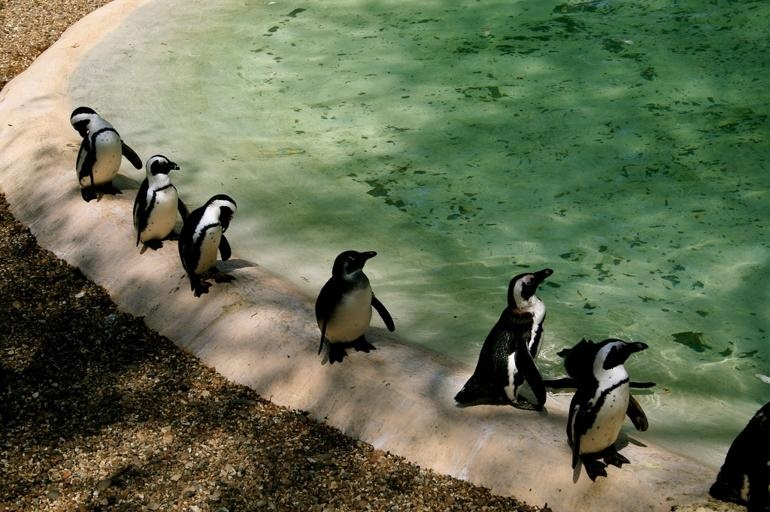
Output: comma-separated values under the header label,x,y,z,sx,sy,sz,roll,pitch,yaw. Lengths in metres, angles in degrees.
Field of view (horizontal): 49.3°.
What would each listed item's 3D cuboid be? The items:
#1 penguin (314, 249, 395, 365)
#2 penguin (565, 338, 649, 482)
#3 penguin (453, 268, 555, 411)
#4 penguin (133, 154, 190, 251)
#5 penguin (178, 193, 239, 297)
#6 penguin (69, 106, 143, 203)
label,x,y,z,sx,sy,sz,roll,pitch,yaw
penguin,0.153,0.450,7.004,0.948,1.035,1.094,0,66,4
penguin,1.655,1.088,6.199,0.853,0.898,0.601,-4,4,-26
penguin,0.961,0.667,6.605,1.008,1.115,0.880,-2,42,3
penguin,-2.169,-0.575,7.891,0.719,0.793,0.709,5,17,9
penguin,-1.656,-0.183,7.542,0.540,0.753,0.584,13,18,26
penguin,-2.817,-1.091,8.618,0.946,1.024,0.703,-6,43,-4
